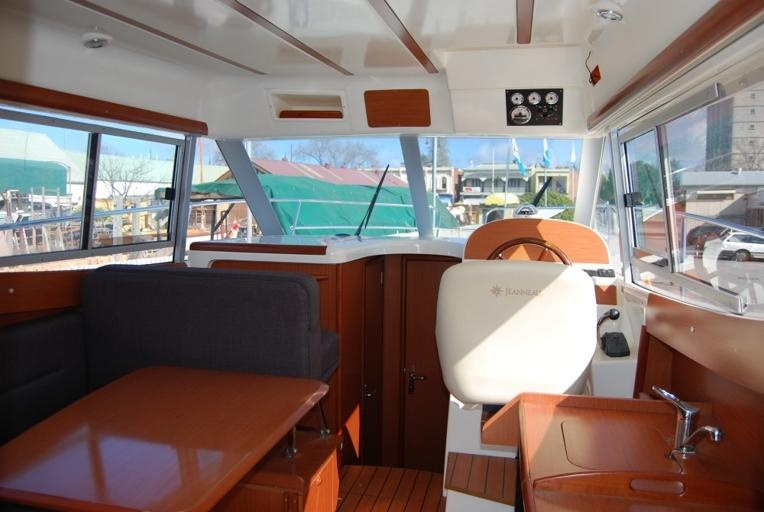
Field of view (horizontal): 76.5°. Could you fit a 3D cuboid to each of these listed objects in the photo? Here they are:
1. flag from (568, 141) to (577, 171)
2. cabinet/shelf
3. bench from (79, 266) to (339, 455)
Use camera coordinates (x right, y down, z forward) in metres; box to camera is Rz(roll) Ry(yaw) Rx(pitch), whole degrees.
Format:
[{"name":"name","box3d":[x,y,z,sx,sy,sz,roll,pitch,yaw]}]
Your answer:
[{"name":"flag","box3d":[1.436,-0.742,3.626,0.038,0.186,0.068,-3,5,-16]},{"name":"cabinet/shelf","box3d":[0.207,0.926,3.814,0.685,1.838,0.236,1,9,22]},{"name":"bench","box3d":[-0.854,0.618,2.396,1.109,0.754,0.588,2,9,8]}]
